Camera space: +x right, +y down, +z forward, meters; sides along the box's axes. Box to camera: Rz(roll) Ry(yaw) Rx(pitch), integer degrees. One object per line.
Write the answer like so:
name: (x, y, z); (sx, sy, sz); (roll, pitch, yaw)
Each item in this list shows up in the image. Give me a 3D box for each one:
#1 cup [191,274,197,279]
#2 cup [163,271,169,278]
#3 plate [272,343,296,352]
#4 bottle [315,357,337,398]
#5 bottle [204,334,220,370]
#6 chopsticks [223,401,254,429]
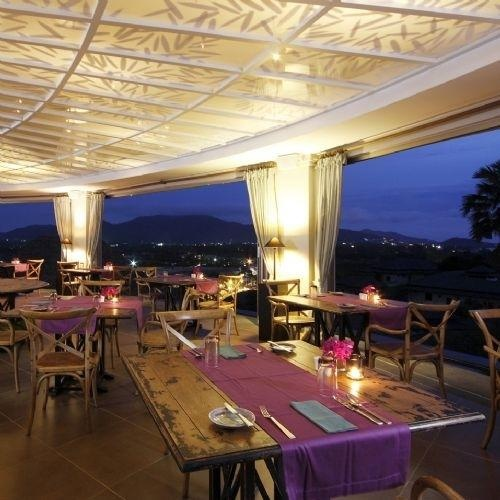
cup: (-0.984, 0.450, 6.910); (0.088, 0.118, 0.145); (-3, 7, -26)
cup: (-1.561, 0.454, 7.427); (0.089, 0.098, 0.114); (-4, 6, -26)
plate: (0.202, 0.577, 2.370); (0.143, 0.041, 0.219); (1, 0, 4)
bottle: (0.327, 0.548, 1.694); (0.146, 0.139, 0.090); (0, -10, -4)
bottle: (-0.197, 0.514, 2.057); (0.077, 0.126, 0.150); (2, 0, -6)
chopsticks: (-0.034, 0.572, 1.366); (0.033, 0.008, 0.208); (-5, 4, -21)
